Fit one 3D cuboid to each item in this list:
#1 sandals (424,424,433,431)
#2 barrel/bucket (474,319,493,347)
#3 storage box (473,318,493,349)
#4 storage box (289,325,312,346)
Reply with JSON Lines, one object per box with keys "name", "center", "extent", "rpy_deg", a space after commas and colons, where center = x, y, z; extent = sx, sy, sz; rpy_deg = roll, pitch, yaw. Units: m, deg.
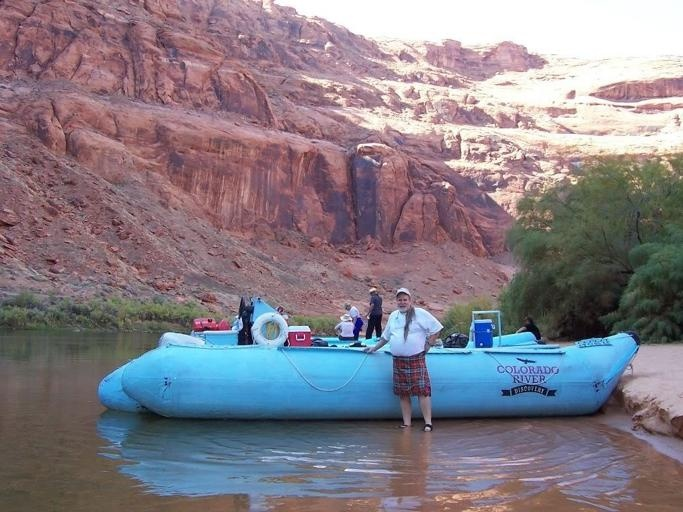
{"name": "sandals", "center": [2.887, 5.636, 34.144], "extent": [0.375, 0.247, 0.225], "rpy_deg": [-1, 1, -27]}
{"name": "barrel/bucket", "center": [4.996, 2.648, 35.935], "extent": [0.951, 1.051, 0.906], "rpy_deg": [-1, -1, 0]}
{"name": "storage box", "center": [4.855, 2.664, 35.430], "extent": [0.948, 1.058, 0.964], "rpy_deg": [0, -1, 15]}
{"name": "storage box", "center": [-1.398, 2.715, 35.007], "extent": [0.760, 0.616, 0.510], "rpy_deg": [1, -1, -2]}
